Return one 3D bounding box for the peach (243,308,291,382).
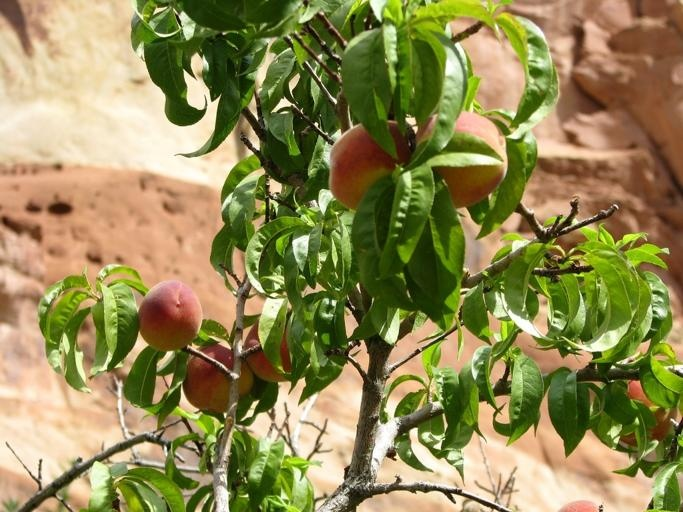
[{"bbox_3d":[-0.415,0.493,5.767,0.249,0.388,0.283,-2,0,2],"label":"peach"}]

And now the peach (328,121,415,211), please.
[{"bbox_3d":[0.132,-0.458,5.244,0.329,0.424,0.377,-3,8,-31],"label":"peach"}]

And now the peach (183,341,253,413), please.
[{"bbox_3d":[-0.686,0.708,5.810,0.312,0.362,0.332,31,-36,-6],"label":"peach"}]

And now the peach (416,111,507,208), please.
[{"bbox_3d":[0.643,-0.459,5.240,0.326,0.420,0.231,19,-27,2],"label":"peach"}]
